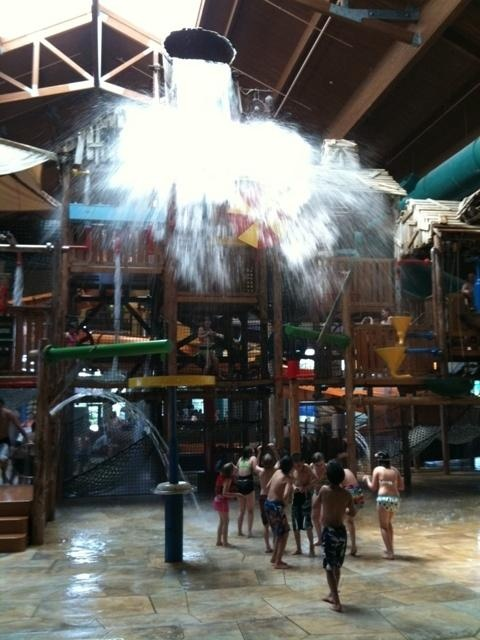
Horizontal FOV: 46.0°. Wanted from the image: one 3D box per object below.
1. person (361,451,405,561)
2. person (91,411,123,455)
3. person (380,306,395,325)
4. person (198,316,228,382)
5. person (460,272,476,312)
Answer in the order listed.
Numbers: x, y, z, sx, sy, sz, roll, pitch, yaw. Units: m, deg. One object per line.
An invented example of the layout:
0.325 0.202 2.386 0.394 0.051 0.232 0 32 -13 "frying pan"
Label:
1.982 2.452 7.710 0.491 1.355 1.360 -4 -9 12 "person"
-4.080 3.546 17.535 0.773 1.135 1.560 -1 -8 -5 "person"
3.634 -0.111 13.885 0.245 0.248 0.872 13 7 3 "person"
-0.746 0.739 14.961 0.649 1.495 1.649 -1 -8 -2 "person"
5.322 -0.634 13.167 0.347 0.878 0.912 -5 -9 21 "person"
